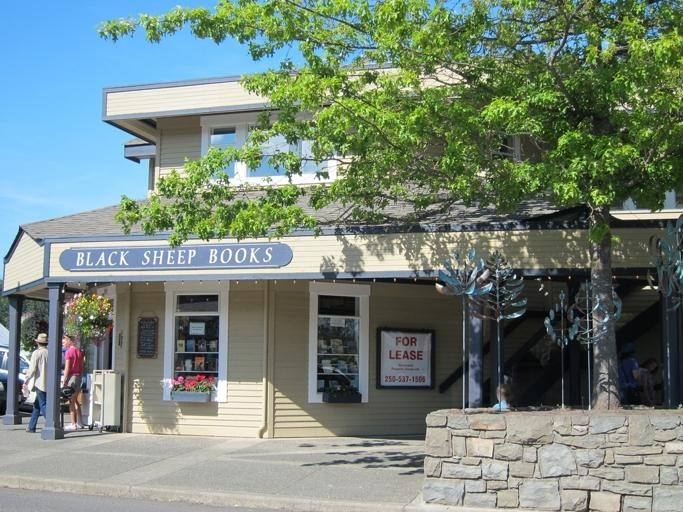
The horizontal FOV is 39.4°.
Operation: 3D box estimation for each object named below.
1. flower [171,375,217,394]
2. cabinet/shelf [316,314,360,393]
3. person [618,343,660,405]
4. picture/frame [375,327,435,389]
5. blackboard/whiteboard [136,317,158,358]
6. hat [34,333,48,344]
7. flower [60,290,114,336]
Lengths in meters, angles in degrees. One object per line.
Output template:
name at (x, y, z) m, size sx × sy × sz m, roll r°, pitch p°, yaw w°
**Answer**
flower at (-3.244, 2.791, 20.981) m, size 0.992 × 0.432 × 0.347 m, roll -6°, pitch -12°, yaw 18°
cabinet/shelf at (-0.056, 2.173, 21.246) m, size 0.969 × 1.702 × 0.251 m, roll 3°, pitch -12°, yaw -22°
person at (6.041, 2.440, 19.422) m, size 0.728 × 1.208 × 1.792 m, roll -6°, pitch -12°, yaw 18°
picture/frame at (1.389, 2.337, 21.669) m, size 1.419 × 1.358 × 0.108 m, roll 2°, pitch -5°, yaw -18°
blackboard/whiteboard at (-4.330, 1.815, 21.407) m, size 0.503 × 0.909 × 0.154 m, roll -7°, pitch -12°, yaw 22°
hat at (-6.679, 1.849, 21.329) m, size 0.327 × 0.135 × 0.348 m, roll 9°, pitch 0°, yaw -9°
flower at (-5.700, 1.230, 21.485) m, size 0.939 × 1.104 × 1.096 m, roll 1°, pitch 2°, yaw -19°
